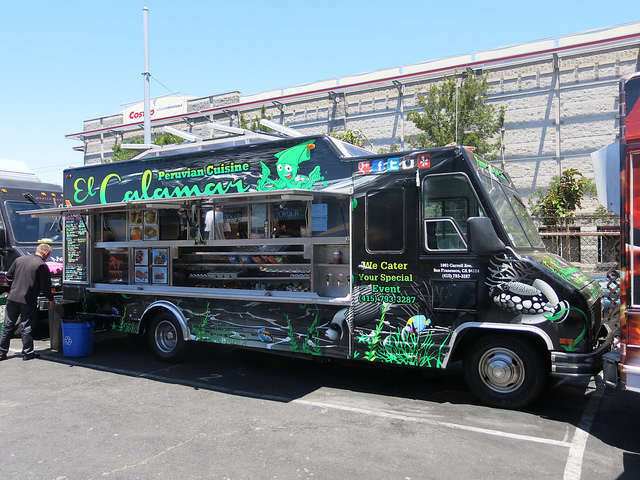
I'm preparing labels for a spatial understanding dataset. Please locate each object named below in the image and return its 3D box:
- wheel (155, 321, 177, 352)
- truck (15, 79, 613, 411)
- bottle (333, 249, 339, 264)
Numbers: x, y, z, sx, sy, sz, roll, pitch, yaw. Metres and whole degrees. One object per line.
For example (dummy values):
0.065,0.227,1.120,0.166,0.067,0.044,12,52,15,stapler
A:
-2.775,1.732,9.850,0.604,0.545,0.206,5,-3,31,wheel
0.303,0.130,10.453,9.325,4.113,4.897,-1,1,28,truck
0.236,0.255,8.455,0.058,0.205,0.127,-4,8,-31,bottle
